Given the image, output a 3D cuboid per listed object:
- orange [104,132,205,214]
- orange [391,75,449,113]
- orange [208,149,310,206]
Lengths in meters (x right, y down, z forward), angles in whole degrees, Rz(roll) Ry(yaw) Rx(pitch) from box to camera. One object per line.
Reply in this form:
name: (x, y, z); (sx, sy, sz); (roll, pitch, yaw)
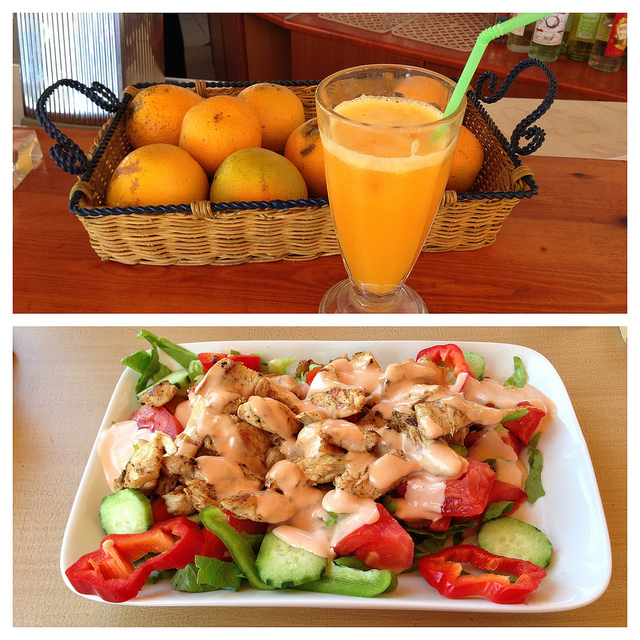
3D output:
orange: (-0.353, -0.303, 1.237); (0.181, 0.168, 0.180); (-16, 20, -26)
orange: (0.196, -0.437, 1.071); (0.085, 0.054, 0.077); (-6, 57, -4)
orange: (-0.132, -0.291, 1.232); (0.179, 0.158, 0.129); (-7, 64, -11)
